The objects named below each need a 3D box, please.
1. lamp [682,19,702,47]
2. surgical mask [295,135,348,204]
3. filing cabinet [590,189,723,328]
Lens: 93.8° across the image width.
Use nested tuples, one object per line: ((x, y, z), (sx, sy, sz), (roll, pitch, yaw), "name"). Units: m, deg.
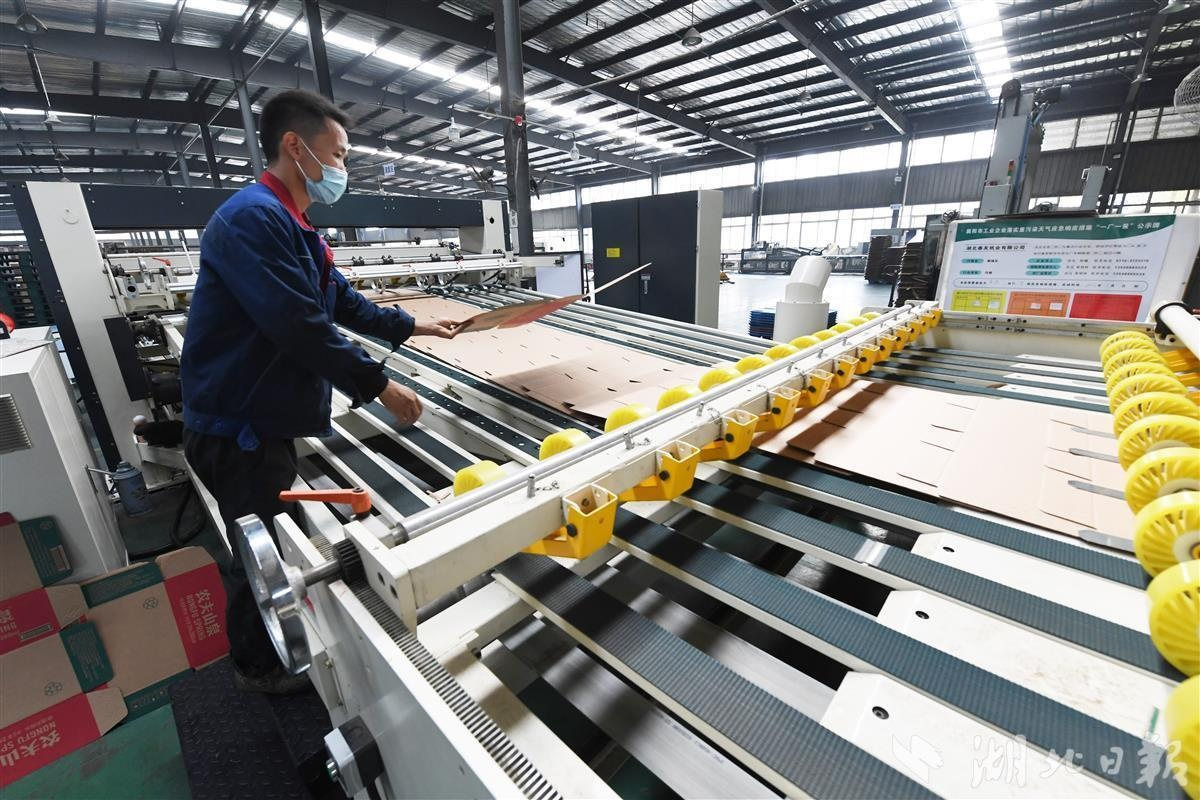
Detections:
((1.232, -4.897, 7.573), (0.221, 0.241, 0.529), (0, 18, 3), "lamp")
((-0.973, -0.786, 1.964), (0.164, 0.100, 0.141), (31, 10, -18), "surgical mask")
((0.483, -1.220, 4.920), (0.392, 1.007, 1.213), (-19, 25, -37), "filing cabinet")
